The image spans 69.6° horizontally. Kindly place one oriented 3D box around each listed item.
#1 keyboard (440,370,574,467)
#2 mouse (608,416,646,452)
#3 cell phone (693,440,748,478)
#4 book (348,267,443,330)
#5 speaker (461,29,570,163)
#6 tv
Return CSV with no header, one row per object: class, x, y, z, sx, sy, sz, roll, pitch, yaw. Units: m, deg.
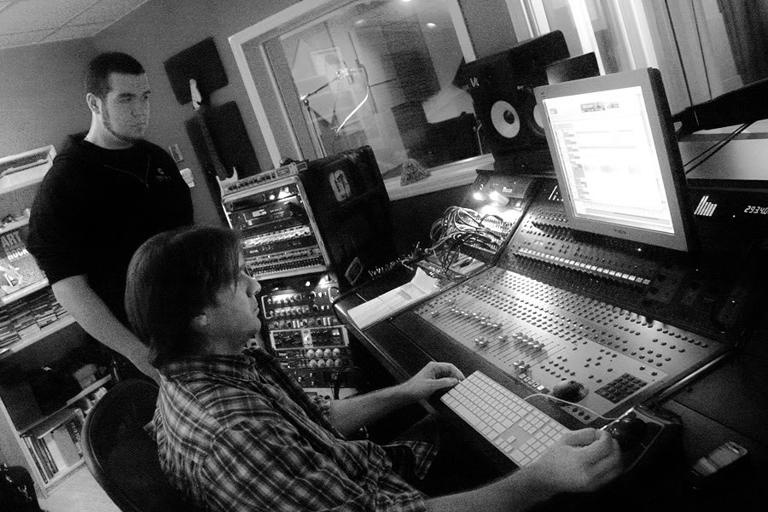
keyboard,0.347,0.481,1.623,0.174,0.030,0.435,-33,24,-14
mouse,0.639,0.458,1.439,0.092,0.042,0.077,-16,21,-7
cell phone,0.806,0.490,1.329,0.135,0.025,0.064,-26,27,-15
book,0.040,0.195,2.369,0.331,0.083,0.232,-28,13,-9
speaker,0.682,-0.726,2.631,0.348,0.488,0.533,-22,18,-1
tv,0.734,-0.326,1.816,0.139,0.538,0.575,-23,23,-17
